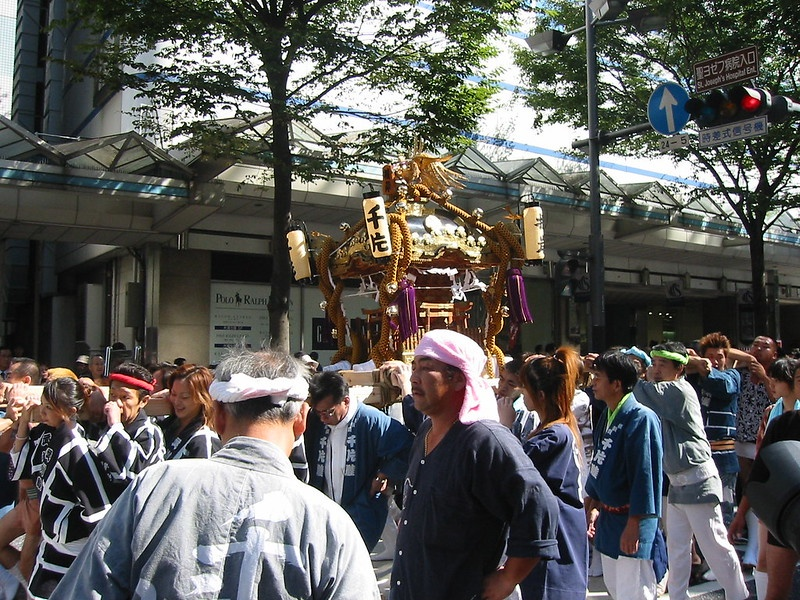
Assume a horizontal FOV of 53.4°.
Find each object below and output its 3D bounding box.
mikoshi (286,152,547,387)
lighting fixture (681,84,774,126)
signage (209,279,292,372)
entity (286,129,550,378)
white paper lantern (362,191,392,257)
[{"bbox_3d":[0.454,-0.511,11.231,2.942,3.889,3.007,-4,-8,37],"label":"mikoshi"},{"bbox_3d":[3.669,-2.110,8.733,0.740,0.305,0.838,4,-4,-29],"label":"lighting fixture"},{"bbox_3d":[-2.443,0.302,12.685,1.857,2.095,0.099,0,-1,-38],"label":"signage"},{"bbox_3d":[0.142,-0.402,10.782,3.053,3.072,3.218,-7,-5,36],"label":"entity"},{"bbox_3d":[-0.259,-0.920,9.446,0.311,0.801,0.221,1,-8,2],"label":"white paper lantern"}]
